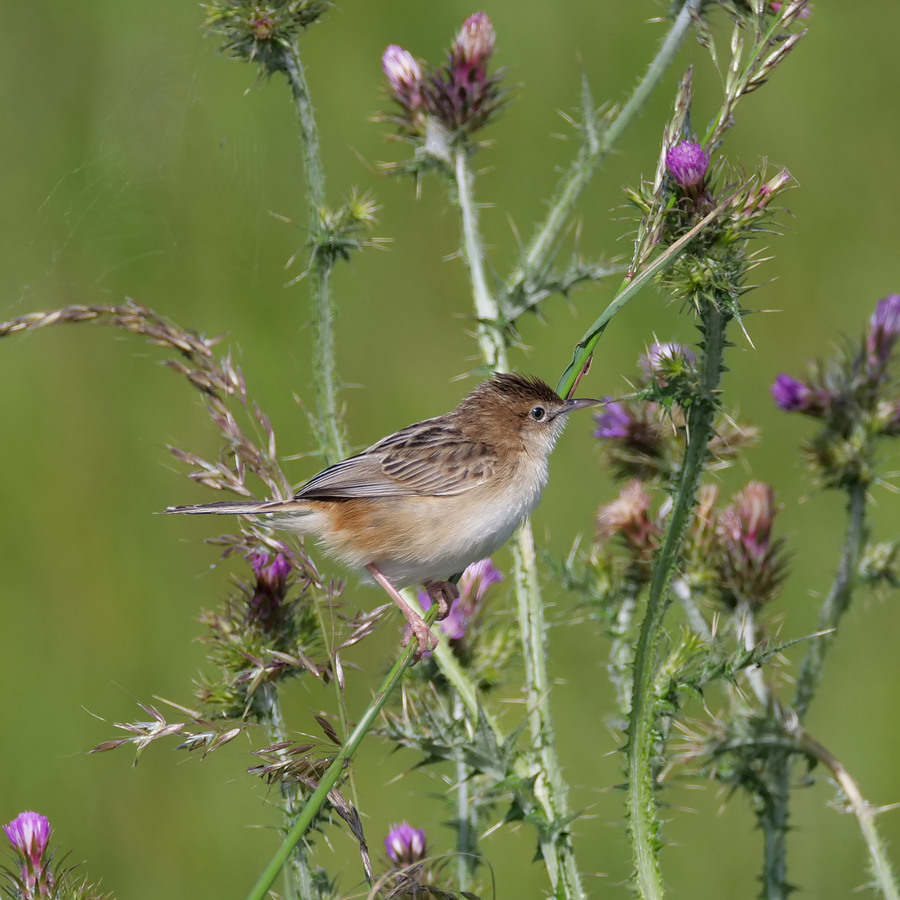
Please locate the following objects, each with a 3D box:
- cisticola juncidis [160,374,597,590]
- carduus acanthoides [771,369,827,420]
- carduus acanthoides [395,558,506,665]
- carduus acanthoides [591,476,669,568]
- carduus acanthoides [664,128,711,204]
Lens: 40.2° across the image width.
[{"bbox_3d":[-0.183,0.144,4.405,1.275,0.520,0.893,2,-96,12],"label":"cisticola juncidis"},{"bbox_3d":[1.139,-0.176,4.020,0.145,0.081,0.139,21,-89,10],"label":"carduus acanthoides"},{"bbox_3d":[0.068,0.507,4.147,0.277,0.395,0.061,20,-50,-23],"label":"carduus acanthoides"},{"bbox_3d":[0.610,0.241,4.065,0.140,0.147,0.308,-3,-80,-30],"label":"carduus acanthoides"},{"bbox_3d":[0.640,-0.746,3.369,0.126,0.152,0.186,-13,-48,10],"label":"carduus acanthoides"}]
